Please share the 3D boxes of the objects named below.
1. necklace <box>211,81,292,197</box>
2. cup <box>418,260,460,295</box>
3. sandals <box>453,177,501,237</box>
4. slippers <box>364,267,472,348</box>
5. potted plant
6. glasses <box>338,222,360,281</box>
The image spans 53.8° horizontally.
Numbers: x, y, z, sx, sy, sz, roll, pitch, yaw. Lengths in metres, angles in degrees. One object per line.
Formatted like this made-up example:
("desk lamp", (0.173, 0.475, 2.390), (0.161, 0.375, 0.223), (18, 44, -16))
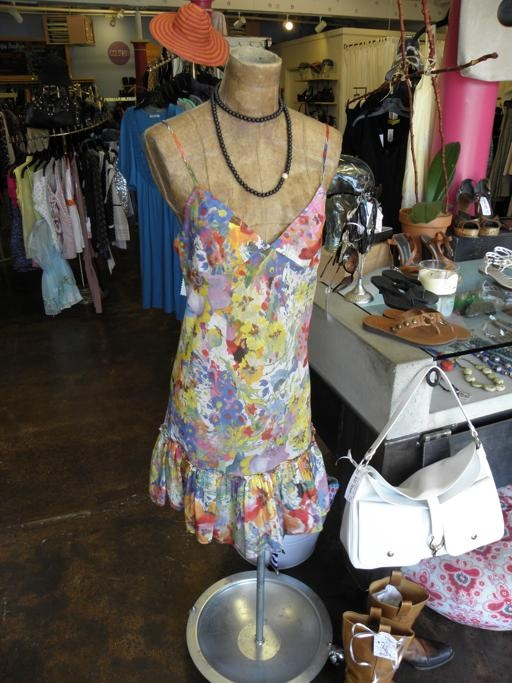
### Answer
("necklace", (-0.005, -0.357, 0.902), (0.151, 0.177, 0.140), (-1, 25, -5))
("cup", (0.496, -0.172, 1.381), (0.107, 0.081, 0.114), (-1, 30, 0))
("sandals", (0.997, -0.604, 2.336), (0.175, 0.161, 0.494), (-1, 32, 16))
("slippers", (0.377, -0.069, 1.227), (0.170, 0.051, 0.214), (-20, 33, -23))
("potted plant", (0.691, -0.557, 1.981), (0.166, 0.422, 0.449), (13, 38, 27))
("glasses", (0.257, -0.252, 1.420), (0.042, 0.139, 0.054), (10, 36, 19))
